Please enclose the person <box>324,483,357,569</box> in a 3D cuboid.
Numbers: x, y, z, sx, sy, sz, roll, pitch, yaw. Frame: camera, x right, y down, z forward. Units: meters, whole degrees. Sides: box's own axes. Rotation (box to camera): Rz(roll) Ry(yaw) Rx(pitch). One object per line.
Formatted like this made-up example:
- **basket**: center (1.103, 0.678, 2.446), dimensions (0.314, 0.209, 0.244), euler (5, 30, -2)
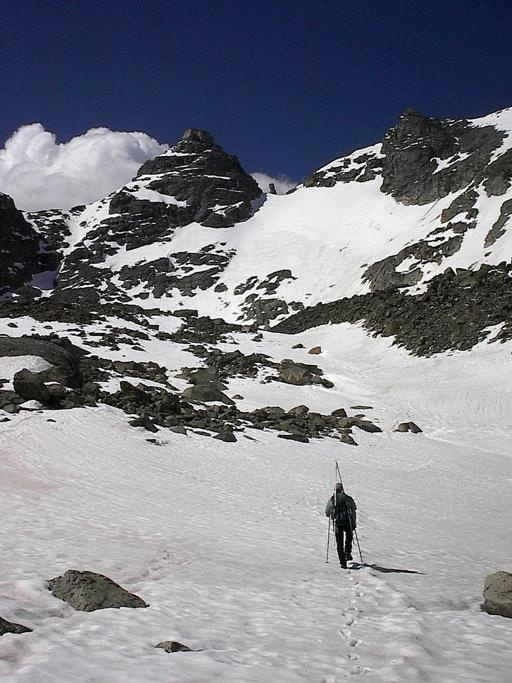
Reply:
- **person**: center (1.816, 3.852, 17.976), dimensions (0.765, 1.702, 0.930), euler (12, 8, 9)
